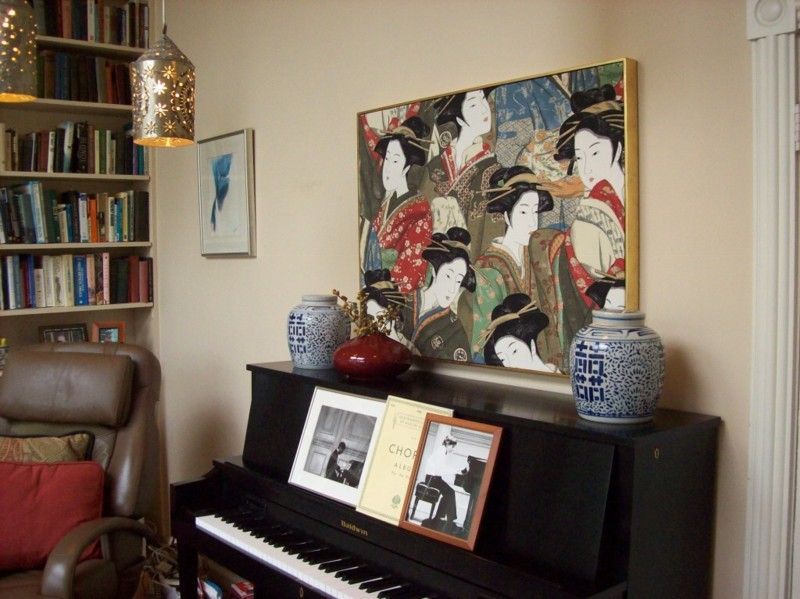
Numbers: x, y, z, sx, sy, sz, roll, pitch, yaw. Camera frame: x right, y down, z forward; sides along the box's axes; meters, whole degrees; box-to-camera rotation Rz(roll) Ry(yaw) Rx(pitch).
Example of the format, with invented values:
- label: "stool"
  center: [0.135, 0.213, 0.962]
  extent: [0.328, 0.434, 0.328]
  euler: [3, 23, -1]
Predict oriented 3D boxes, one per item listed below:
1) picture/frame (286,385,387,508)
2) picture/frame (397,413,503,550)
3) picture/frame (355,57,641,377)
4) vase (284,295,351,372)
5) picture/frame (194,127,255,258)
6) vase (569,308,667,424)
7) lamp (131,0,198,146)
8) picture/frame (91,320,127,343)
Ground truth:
- label: "picture/frame"
  center: [-0.223, 0.516, 2.230]
  extent: [0.333, 0.354, 0.021]
  euler: [4, -19, 36]
- label: "picture/frame"
  center: [0.162, 0.560, 1.902]
  extent: [0.372, 0.480, 0.032]
  euler: [8, -14, 43]
- label: "picture/frame"
  center: [0.367, -0.275, 2.193]
  extent: [0.051, 0.931, 1.180]
  euler: [-1, 2, -45]
- label: "vase"
  center: [-0.334, 0.121, 2.610]
  extent: [0.268, 0.286, 0.273]
  euler: [-4, 7, -35]
- label: "picture/frame"
  center: [-0.929, -0.577, 3.357]
  extent: [0.058, 0.786, 0.674]
  euler: [-1, 3, -41]
- label: "vase"
  center: [0.635, 0.179, 1.835]
  extent: [0.256, 0.316, 0.259]
  euler: [-4, 7, -24]
- label: "lamp"
  center: [-0.719, -0.655, 1.902]
  extent: [0.183, 0.382, 0.170]
  euler: [0, 4, -22]
- label: "picture/frame"
  center: [-1.842, 0.203, 3.944]
  extent: [0.130, 0.142, 0.014]
  euler: [0, 4, -21]
